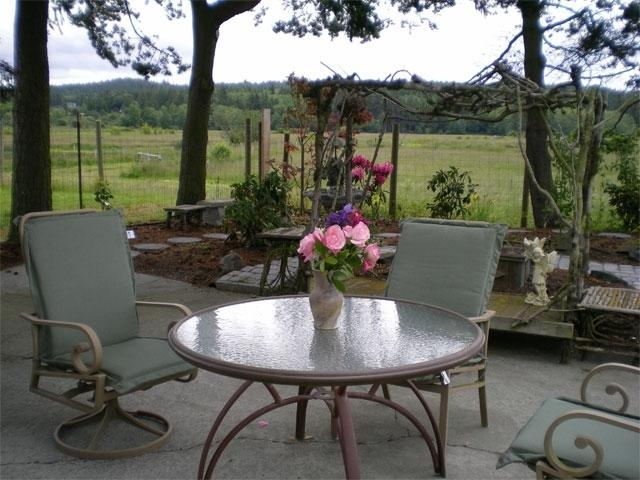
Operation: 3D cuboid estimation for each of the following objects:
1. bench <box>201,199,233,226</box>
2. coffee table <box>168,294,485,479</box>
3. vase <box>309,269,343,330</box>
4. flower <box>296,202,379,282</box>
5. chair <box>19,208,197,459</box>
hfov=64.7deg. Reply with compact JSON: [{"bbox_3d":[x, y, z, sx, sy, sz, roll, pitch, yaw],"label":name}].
[{"bbox_3d":[-2.048,-0.530,10.077,0.424,0.481,0.647,10,12,33],"label":"bench"},{"bbox_3d":[0.099,0.540,2.632,1.185,0.614,1.190,6,9,44],"label":"coffee table"},{"bbox_3d":[0.035,0.330,2.806,0.201,0.313,0.200,0,7,-12],"label":"vase"},{"bbox_3d":[0.021,0.064,2.766,0.346,0.307,0.306,-1,0,-24],"label":"flower"},{"bbox_3d":[-1.353,0.570,3.275,1.148,1.481,1.169,1,5,-16],"label":"chair"}]
